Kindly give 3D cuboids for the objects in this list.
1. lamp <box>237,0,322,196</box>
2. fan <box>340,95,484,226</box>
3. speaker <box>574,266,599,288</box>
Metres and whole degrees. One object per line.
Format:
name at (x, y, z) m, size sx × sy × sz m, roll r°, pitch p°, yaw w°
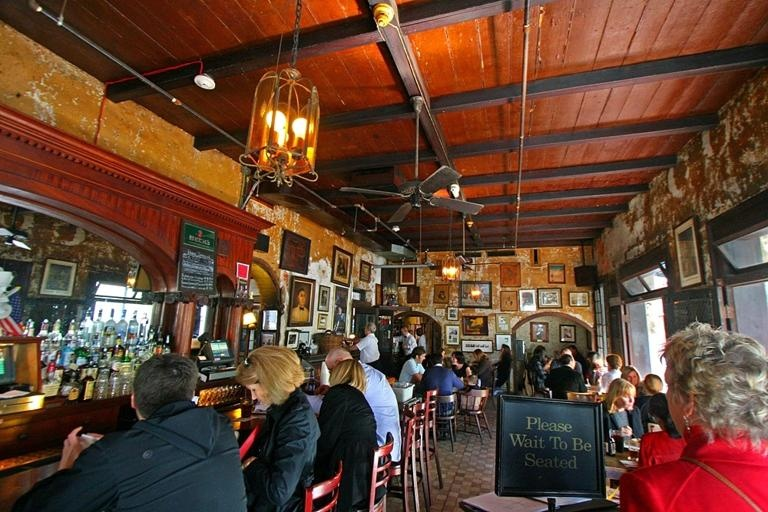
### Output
lamp at (-1.123, -1.411, 4.772) m, size 0.718 × 1.904 × 2.158 m, roll 6°, pitch -14°, yaw -18°
fan at (0.338, -1.146, 6.085) m, size 1.801 × 1.379 × 1.657 m, roll -6°, pitch -32°, yaw 22°
speaker at (5.362, 0.498, 11.537) m, size 0.321 × 0.576 × 0.696 m, roll 7°, pitch -14°, yaw -22°
